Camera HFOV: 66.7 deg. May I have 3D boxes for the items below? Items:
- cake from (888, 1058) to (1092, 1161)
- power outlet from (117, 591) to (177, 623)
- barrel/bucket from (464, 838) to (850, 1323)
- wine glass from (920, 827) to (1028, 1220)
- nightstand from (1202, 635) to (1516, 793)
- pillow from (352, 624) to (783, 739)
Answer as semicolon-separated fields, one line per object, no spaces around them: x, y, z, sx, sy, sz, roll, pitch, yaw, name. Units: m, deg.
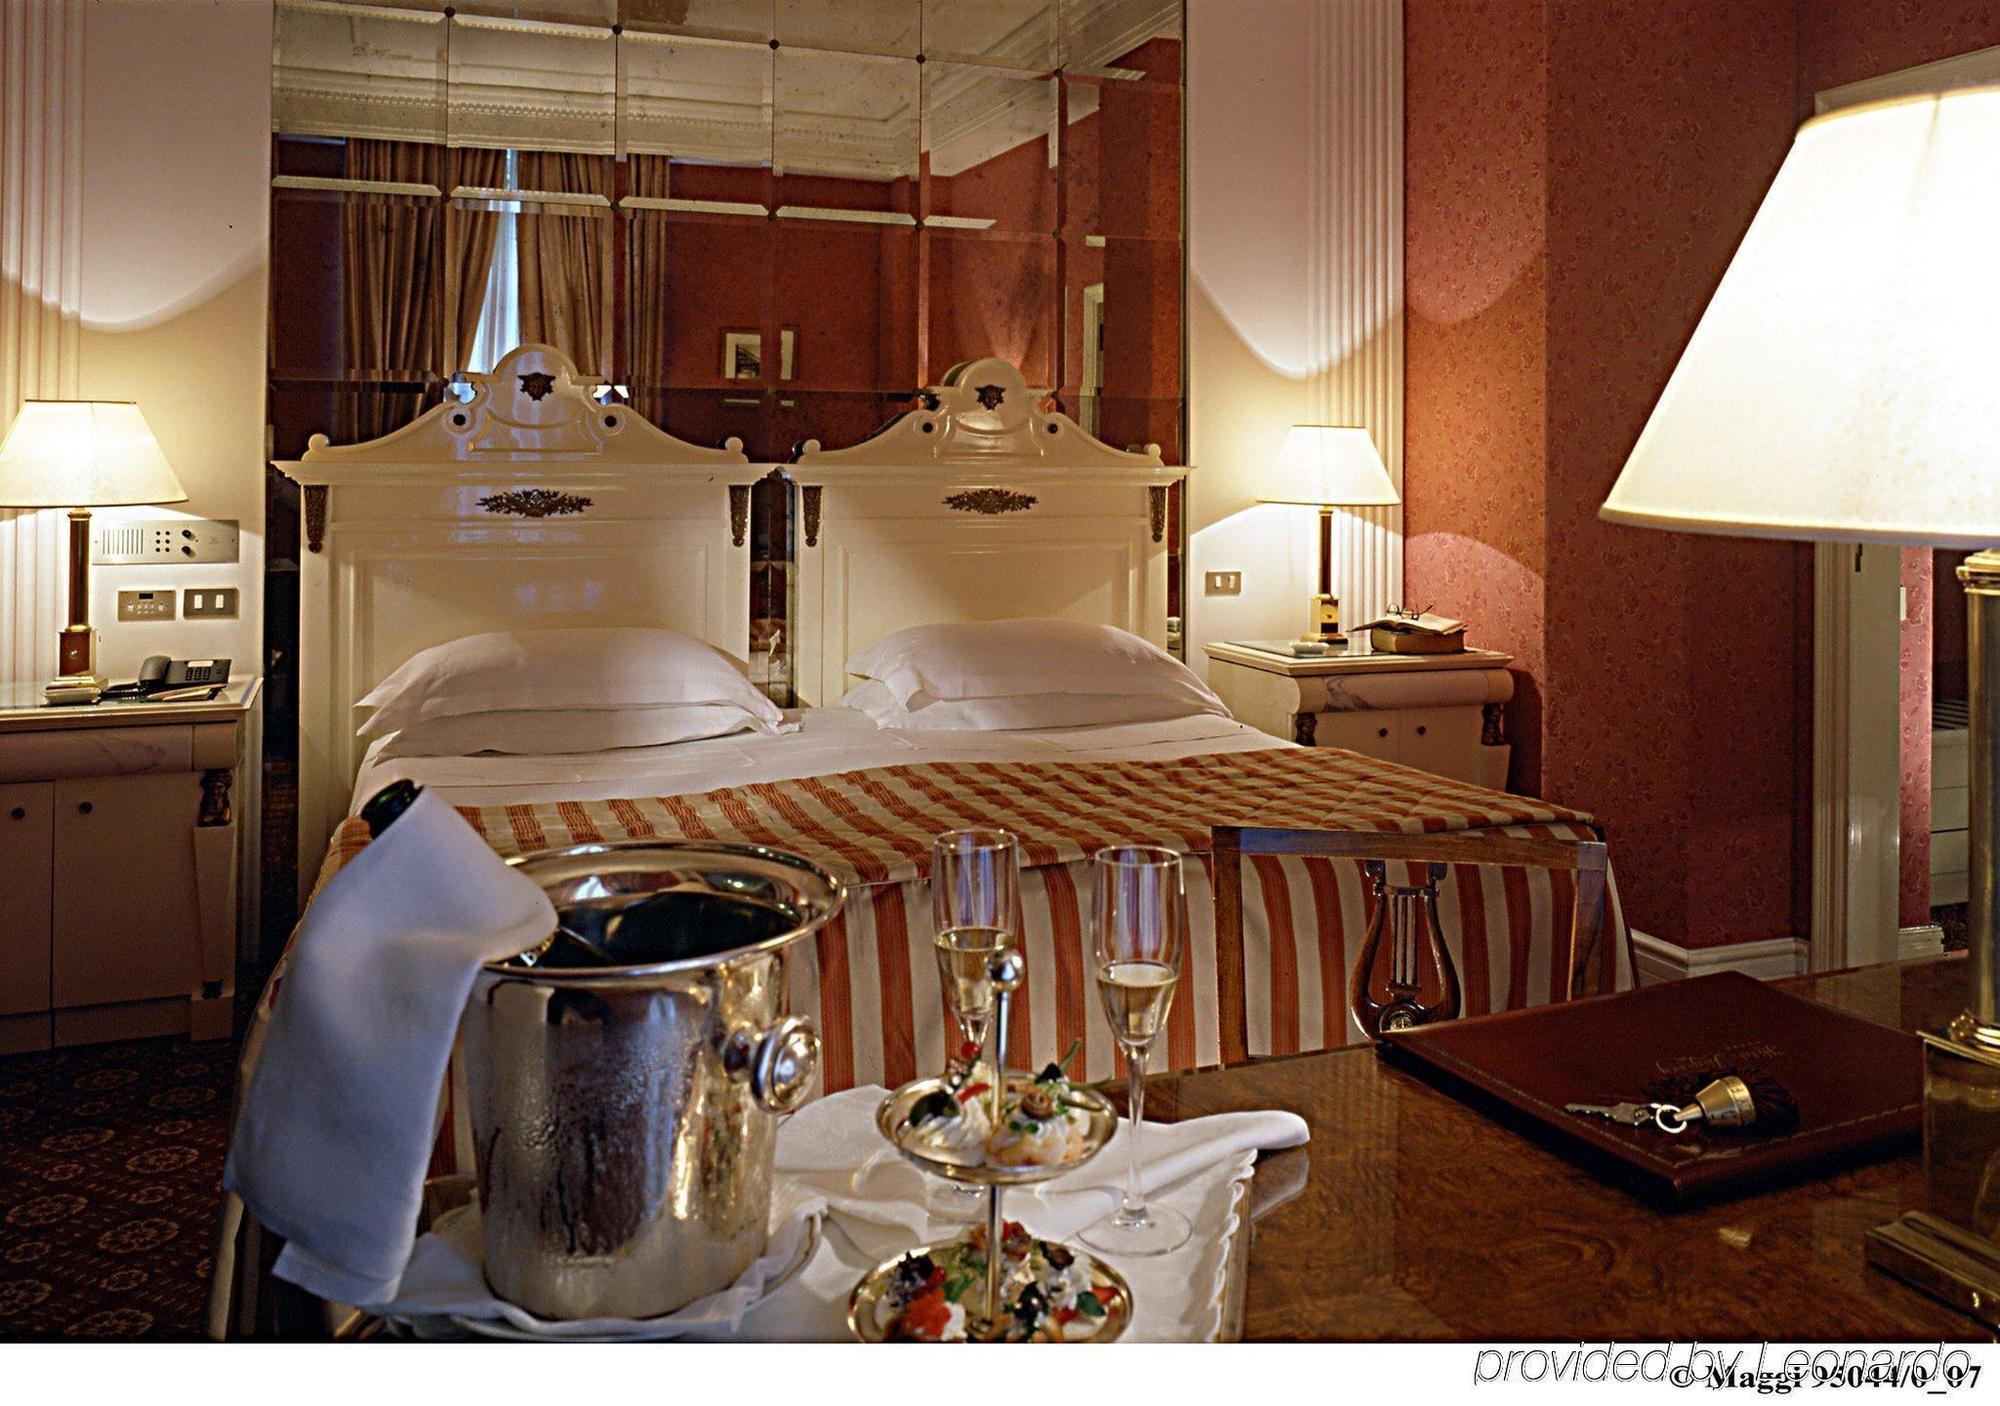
-0.013;0.306;1.168;0.166;0.048;0.117;1;7;2;cake
-2.263;-0.254;4.016;0.140;0.096;0.078;0;1;-20;power outlet
-0.304;0.311;1.220;0.357;0.275;0.315;0;0;34;barrel/bucket
-0.015;0.268;1.334;0.094;0.293;0.091;-6;10;-24;wine glass
1.223;0.136;4.800;0.646;0.635;0.525;-2;12;6;nightstand
-1.153;-0.067;3.899;0.703;0.176;0.461;-2;8;-23;pillow
